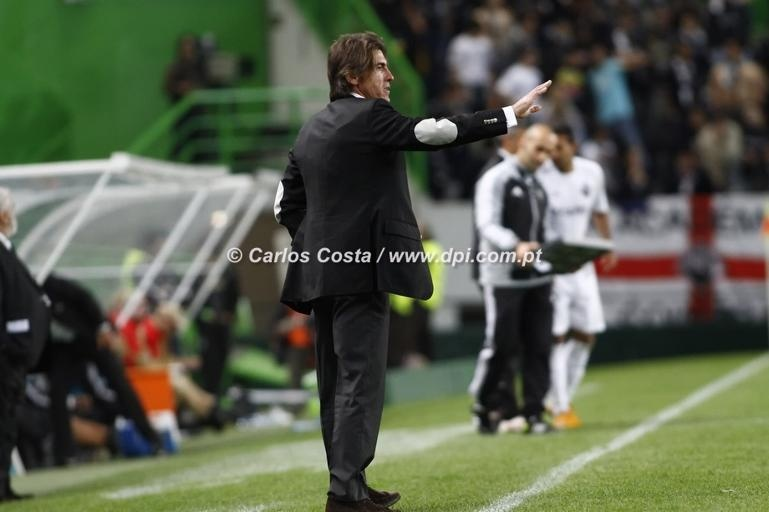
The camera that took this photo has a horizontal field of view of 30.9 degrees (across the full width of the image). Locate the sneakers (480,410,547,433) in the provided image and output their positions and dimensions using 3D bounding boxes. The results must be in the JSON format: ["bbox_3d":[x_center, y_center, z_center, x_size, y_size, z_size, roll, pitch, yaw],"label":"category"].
[{"bbox_3d":[1.080,1.358,11.566,0.570,0.260,0.197,-4,-6,15],"label":"sneakers"}]
